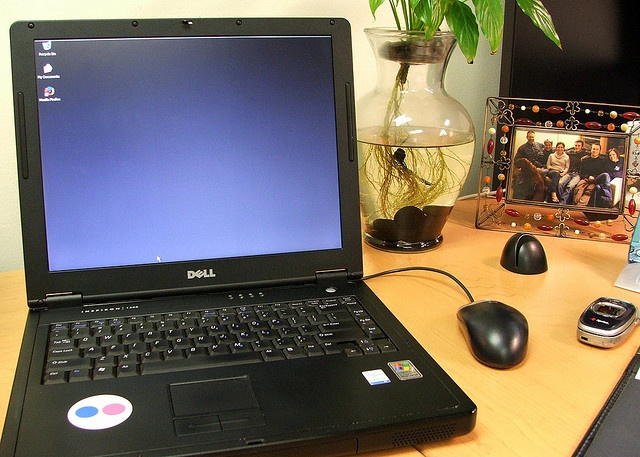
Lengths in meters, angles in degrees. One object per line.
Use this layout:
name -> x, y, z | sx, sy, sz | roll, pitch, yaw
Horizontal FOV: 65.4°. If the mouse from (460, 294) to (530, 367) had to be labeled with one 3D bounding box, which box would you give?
mouse -> 0.250, 0.136, 0.730 | 0.087, 0.047, 0.143 | -5, 30, 1
